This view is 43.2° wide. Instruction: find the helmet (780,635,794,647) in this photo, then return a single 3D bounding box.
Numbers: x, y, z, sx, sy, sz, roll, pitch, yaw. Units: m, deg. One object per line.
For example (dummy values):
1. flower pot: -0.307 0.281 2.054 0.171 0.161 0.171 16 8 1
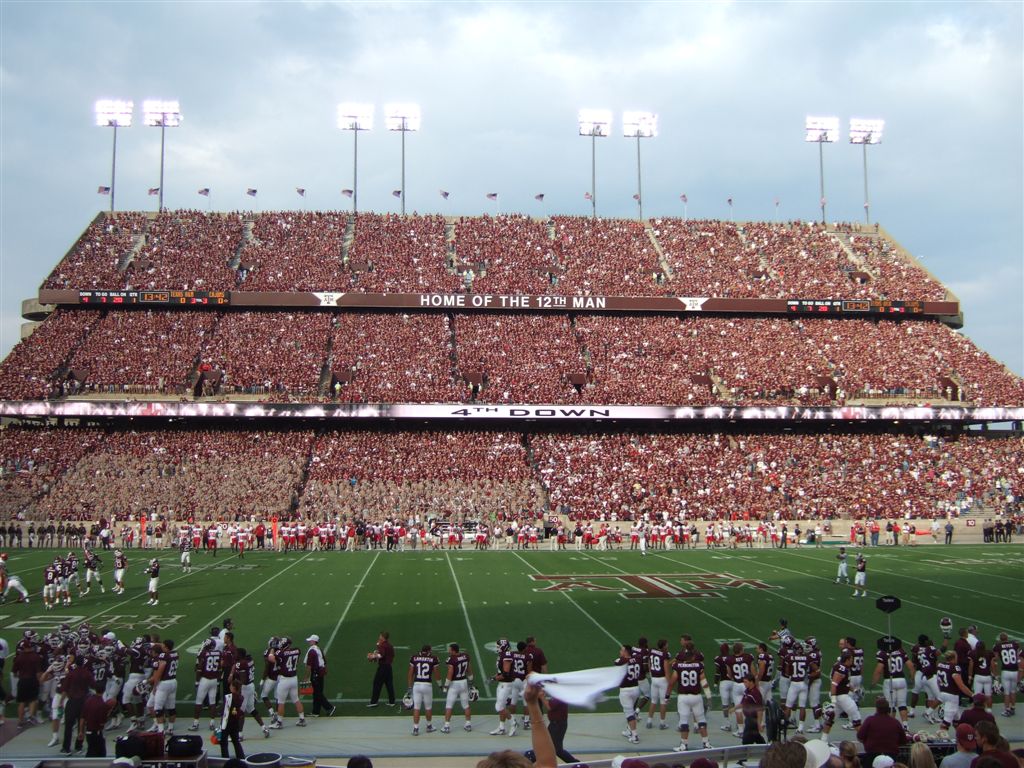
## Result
1. helmet: 7.829 7.300 37.016 0.327 0.353 0.640 -3 -8 6
